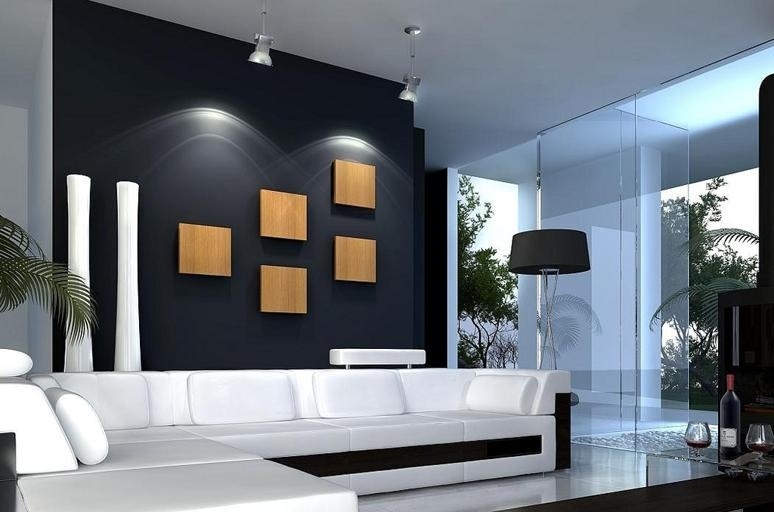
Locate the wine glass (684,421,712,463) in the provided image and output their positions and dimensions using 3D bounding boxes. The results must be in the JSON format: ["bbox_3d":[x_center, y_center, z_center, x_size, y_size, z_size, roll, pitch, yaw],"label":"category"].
[{"bbox_3d":[1.994,1.174,3.928,0.153,0.225,0.146,-3,1,-9],"label":"wine glass"}]

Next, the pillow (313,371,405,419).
[{"bbox_3d":[-0.222,1.152,5.144,0.658,0.419,0.150,-3,-16,-28],"label":"pillow"}]

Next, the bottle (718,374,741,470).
[{"bbox_3d":[2.230,1.038,4.000,0.130,0.528,0.329,-4,-8,28],"label":"bottle"}]
